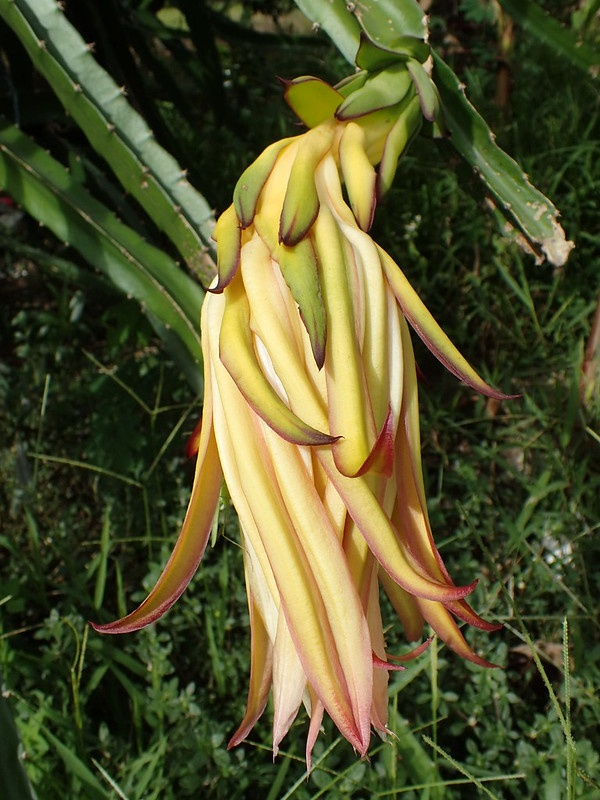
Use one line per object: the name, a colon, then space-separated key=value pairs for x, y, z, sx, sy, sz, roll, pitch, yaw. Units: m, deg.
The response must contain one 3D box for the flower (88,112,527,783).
flower: x=-0.023 y=0.055 z=0.595 sx=0.202 sy=0.381 sz=0.236 roll=-13 pitch=10 yaw=33
